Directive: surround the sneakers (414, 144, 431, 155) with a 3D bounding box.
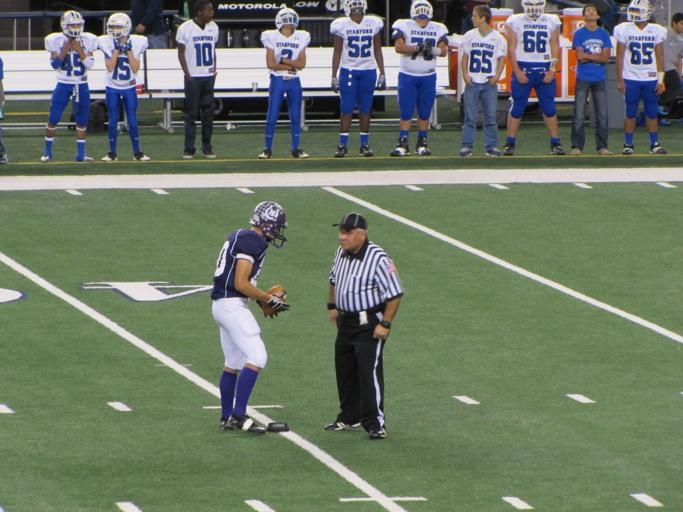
[{"bbox_3d":[1.168,-1.521,21.779,0.227,0.170,0.424,-2,6,-6],"label":"sneakers"}]

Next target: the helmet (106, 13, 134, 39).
[{"bbox_3d":[-3.002,-3.128,20.711,0.289,0.341,0.443,-1,9,-9],"label":"helmet"}]

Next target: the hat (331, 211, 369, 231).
[{"bbox_3d":[0.107,-0.305,13.187,0.242,0.128,0.166,-5,6,-30],"label":"hat"}]

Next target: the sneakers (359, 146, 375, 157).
[{"bbox_3d":[0.369,-1.481,21.654,0.209,0.219,0.544,-2,4,-5],"label":"sneakers"}]

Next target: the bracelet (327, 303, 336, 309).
[{"bbox_3d":[-0.078,0.440,13.466,0.056,0.032,0.055,3,10,15],"label":"bracelet"}]

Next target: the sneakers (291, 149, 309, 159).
[{"bbox_3d":[-0.564,-1.438,21.468,0.256,0.104,0.112,9,22,43],"label":"sneakers"}]

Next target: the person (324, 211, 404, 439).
[{"bbox_3d":[0.200,0.602,13.224,0.608,1.910,0.321,3,9,20],"label":"person"}]

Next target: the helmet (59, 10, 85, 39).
[{"bbox_3d":[-3.582,-3.156,20.788,0.340,0.347,0.409,-6,24,-22],"label":"helmet"}]

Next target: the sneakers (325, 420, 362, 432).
[{"bbox_3d":[0.014,1.489,13.411,0.331,0.130,0.113,2,2,-12],"label":"sneakers"}]

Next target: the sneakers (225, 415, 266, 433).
[{"bbox_3d":[-0.838,1.453,13.303,0.409,0.160,0.137,5,2,-1],"label":"sneakers"}]

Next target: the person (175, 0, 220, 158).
[{"bbox_3d":[-1.977,-2.440,21.197,0.548,2.215,0.882,-1,9,-5],"label":"person"}]

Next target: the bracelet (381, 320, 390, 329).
[{"bbox_3d":[0.389,0.582,13.204,0.091,0.082,0.122,0,9,-2],"label":"bracelet"}]

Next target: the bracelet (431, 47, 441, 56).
[{"bbox_3d":[1.321,-2.785,20.721,0.111,0.108,0.243,3,9,20],"label":"bracelet"}]

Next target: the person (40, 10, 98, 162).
[{"bbox_3d":[-3.789,-2.358,21.250,0.826,2.088,1.377,-2,9,-11],"label":"person"}]

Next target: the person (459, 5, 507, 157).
[{"bbox_3d":[1.985,-2.407,21.186,0.639,2.112,0.692,1,9,5],"label":"person"}]

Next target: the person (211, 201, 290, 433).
[{"bbox_3d":[-0.789,0.524,13.286,0.659,1.956,0.512,-1,9,-4],"label":"person"}]

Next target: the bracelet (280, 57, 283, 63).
[{"bbox_3d":[-0.790,-2.649,20.647,0.039,0.049,0.015,7,7,30],"label":"bracelet"}]

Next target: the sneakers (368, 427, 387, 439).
[{"bbox_3d":[0.326,1.522,13.231,0.157,0.106,0.138,0,9,2],"label":"sneakers"}]

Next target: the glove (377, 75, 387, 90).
[{"bbox_3d":[0.603,-2.424,21.360,0.068,0.172,0.132,2,6,-26],"label":"glove"}]

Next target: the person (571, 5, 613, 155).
[{"bbox_3d":[3.528,-2.465,21.442,0.532,2.099,0.620,1,9,9],"label":"person"}]

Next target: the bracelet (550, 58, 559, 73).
[{"bbox_3d":[2.919,-2.621,20.854,0.105,0.182,0.329,1,9,6],"label":"bracelet"}]

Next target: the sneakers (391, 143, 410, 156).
[{"bbox_3d":[0.853,-1.510,21.558,0.130,0.164,0.360,2,6,15],"label":"sneakers"}]

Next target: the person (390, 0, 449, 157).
[{"bbox_3d":[1.110,-2.491,21.404,0.776,2.190,1.532,0,9,3],"label":"person"}]

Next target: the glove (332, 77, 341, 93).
[{"bbox_3d":[-0.070,-2.371,21.050,0.124,0.155,0.143,0,-11,-2],"label":"glove"}]

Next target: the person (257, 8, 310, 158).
[{"bbox_3d":[-0.765,-2.360,20.972,0.685,2.104,0.815,-1,9,-4],"label":"person"}]
